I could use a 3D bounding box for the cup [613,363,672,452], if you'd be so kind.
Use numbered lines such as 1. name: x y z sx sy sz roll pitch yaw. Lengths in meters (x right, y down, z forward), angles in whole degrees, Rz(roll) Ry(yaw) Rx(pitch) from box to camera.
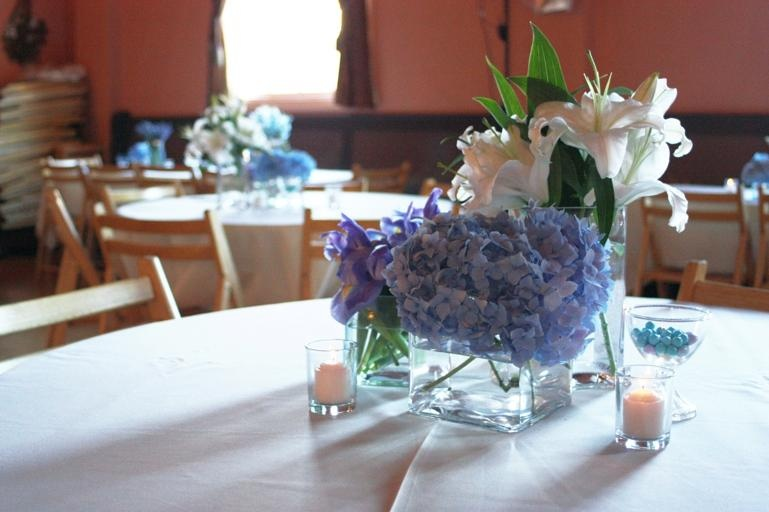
1. cup: 0.387 0.222 1.023 0.073 0.110 0.073 -3 8 1

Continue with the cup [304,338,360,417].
1. cup: -0.091 0.199 1.136 0.089 0.105 0.089 1 2 0

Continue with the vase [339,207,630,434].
1. vase: 0.177 0.061 1.111 0.360 0.284 0.343 4 8 42
